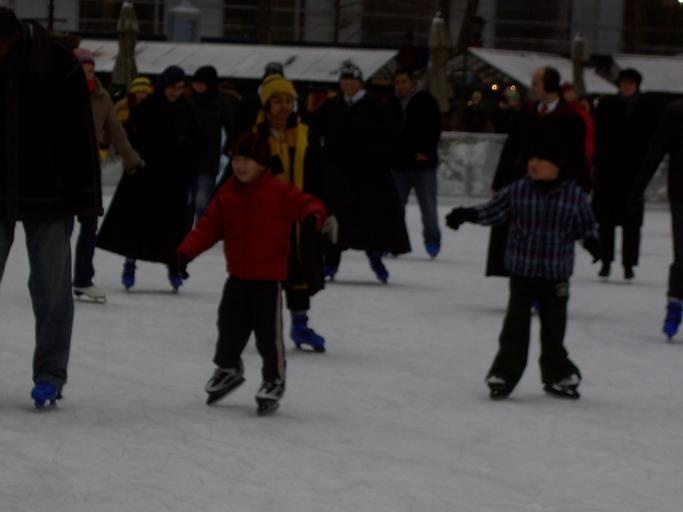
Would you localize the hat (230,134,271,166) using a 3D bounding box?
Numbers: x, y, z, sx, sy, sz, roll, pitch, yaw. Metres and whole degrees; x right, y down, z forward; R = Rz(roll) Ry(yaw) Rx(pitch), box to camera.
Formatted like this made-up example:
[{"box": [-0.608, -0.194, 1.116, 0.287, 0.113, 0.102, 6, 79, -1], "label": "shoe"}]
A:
[{"box": [-0.503, -0.607, 4.727, 0.179, 0.149, 0.182, 23, 3, -26], "label": "hat"}]

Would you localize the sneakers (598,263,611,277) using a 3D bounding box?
[{"box": [3.376, 0.185, 10.773, 0.153, 0.283, 0.145, -3, 0, 6], "label": "sneakers"}]

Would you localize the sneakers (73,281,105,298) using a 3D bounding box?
[{"box": [-2.453, 0.338, 8.283, 0.359, 0.159, 0.139, 1, 3, 10], "label": "sneakers"}]

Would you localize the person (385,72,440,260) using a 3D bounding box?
[{"box": [1.019, -1.184, 11.448, 0.598, 2.554, 1.258, 4, 6, 22], "label": "person"}]

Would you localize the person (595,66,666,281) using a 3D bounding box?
[{"box": [3.486, -0.915, 10.298, 0.838, 2.873, 0.810, 4, 33, 20], "label": "person"}]

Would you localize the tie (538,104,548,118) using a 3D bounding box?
[{"box": [1.537, -1.111, 6.393, 0.100, 0.047, 0.141, -2, 38, 2], "label": "tie"}]

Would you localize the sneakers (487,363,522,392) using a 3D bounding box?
[{"box": [1.023, 0.759, 5.361, 0.195, 0.189, 0.167, 21, -14, -15], "label": "sneakers"}]

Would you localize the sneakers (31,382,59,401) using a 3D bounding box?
[{"box": [-1.588, 0.737, 4.537, 0.147, 0.120, 0.111, -1, 7, -26], "label": "sneakers"}]

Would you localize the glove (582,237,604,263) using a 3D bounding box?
[{"box": [2.138, -0.041, 7.095, 0.094, 0.333, 0.138, -6, 36, 21], "label": "glove"}]

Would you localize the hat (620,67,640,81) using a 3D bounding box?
[{"box": [3.478, -2.224, 10.133, 0.181, 0.079, 0.190, 6, 12, -31], "label": "hat"}]

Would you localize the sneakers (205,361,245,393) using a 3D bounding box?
[{"box": [-0.662, 0.715, 4.854, 0.292, 0.105, 0.138, -22, -23, 4], "label": "sneakers"}]

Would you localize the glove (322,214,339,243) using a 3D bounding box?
[{"box": [-0.070, -0.183, 5.605, 0.125, 0.196, 0.096, 4, 1, 31], "label": "glove"}]

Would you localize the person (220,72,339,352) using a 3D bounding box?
[{"box": [-0.374, -0.266, 6.047, 0.609, 1.938, 0.665, 0, 11, 23], "label": "person"}]

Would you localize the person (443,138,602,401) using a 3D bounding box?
[{"box": [1.199, 0.092, 5.328, 0.791, 1.627, 0.387, 3, 6, 16], "label": "person"}]

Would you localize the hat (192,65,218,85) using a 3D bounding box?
[{"box": [-1.552, -2.073, 9.631, 0.182, 0.242, 0.263, 11, 11, 28], "label": "hat"}]

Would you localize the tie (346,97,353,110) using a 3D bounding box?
[{"box": [0.092, -1.745, 9.602, 0.079, 0.133, 0.152, -3, 7, -37], "label": "tie"}]

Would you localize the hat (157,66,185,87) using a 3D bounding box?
[{"box": [-1.786, -1.897, 8.913, 0.240, 0.213, 0.236, -12, 3, 22], "label": "hat"}]

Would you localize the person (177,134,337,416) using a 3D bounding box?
[{"box": [-0.508, 0.097, 4.745, 0.792, 1.568, 0.326, 1, 6, -3], "label": "person"}]
